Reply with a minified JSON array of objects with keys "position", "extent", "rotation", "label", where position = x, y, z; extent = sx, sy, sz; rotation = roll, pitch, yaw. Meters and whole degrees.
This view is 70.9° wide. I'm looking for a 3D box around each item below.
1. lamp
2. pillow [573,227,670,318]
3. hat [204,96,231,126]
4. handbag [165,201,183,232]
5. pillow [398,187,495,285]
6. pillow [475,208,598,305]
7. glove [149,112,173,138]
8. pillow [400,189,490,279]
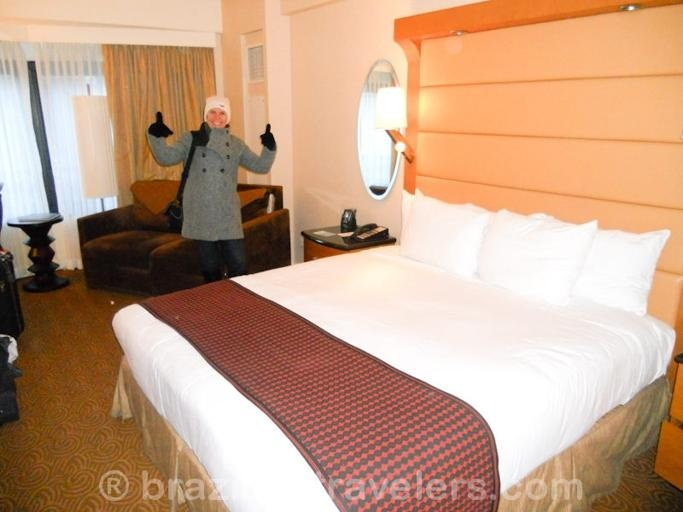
[{"position":[0.463,-1.093,4.062],"extent":[0.386,0.624,0.230],"rotation":[-17,24,-42],"label":"lamp"},{"position":[1.682,0.097,2.886],"extent":[0.140,0.505,0.473],"rotation":[7,8,-41],"label":"pillow"},{"position":[-1.055,-1.266,4.158],"extent":[0.230,0.264,0.269],"rotation":[2,21,-20],"label":"hat"},{"position":[-1.744,-0.415,5.006],"extent":[0.286,0.292,0.150],"rotation":[29,34,36],"label":"handbag"},{"position":[0.781,-0.127,3.473],"extent":[0.211,0.427,0.612],"rotation":[-7,19,-35],"label":"pillow"},{"position":[1.215,-0.002,3.025],"extent":[0.180,0.570,0.607],"rotation":[18,4,-37],"label":"pillow"},{"position":[-1.515,-1.095,3.998],"extent":[0.166,0.200,0.483],"rotation":[-5,19,-16],"label":"glove"},{"position":[0.787,-0.107,3.523],"extent":[0.187,0.563,0.659],"rotation":[12,7,-41],"label":"pillow"}]
